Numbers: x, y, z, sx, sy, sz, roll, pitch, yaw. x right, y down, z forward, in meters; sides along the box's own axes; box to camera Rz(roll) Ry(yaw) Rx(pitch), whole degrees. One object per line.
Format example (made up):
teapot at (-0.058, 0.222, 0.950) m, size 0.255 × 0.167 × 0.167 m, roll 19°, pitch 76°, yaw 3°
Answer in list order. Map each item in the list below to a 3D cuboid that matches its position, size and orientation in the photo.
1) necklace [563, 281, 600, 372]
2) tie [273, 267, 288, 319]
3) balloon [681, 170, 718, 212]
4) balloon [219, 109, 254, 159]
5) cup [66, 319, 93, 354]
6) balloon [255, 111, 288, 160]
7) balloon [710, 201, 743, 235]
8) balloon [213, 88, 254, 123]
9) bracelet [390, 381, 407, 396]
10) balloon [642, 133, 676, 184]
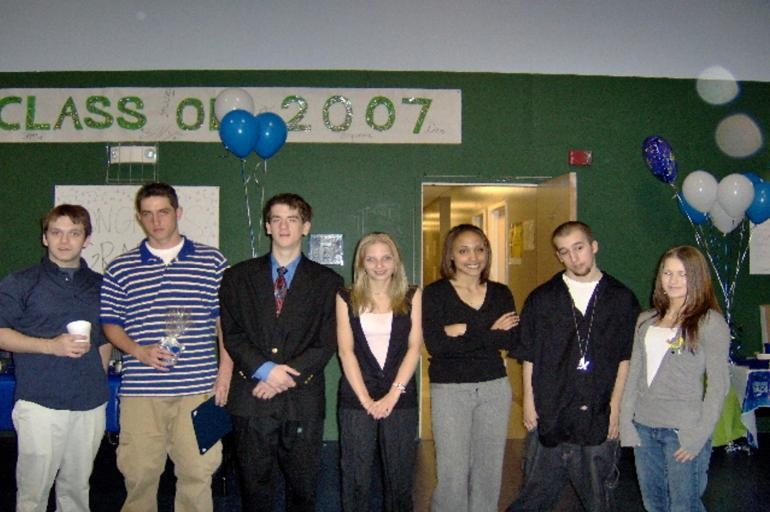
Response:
necklace at (1.507, 0.538, 4.942) m, size 0.233 × 0.524 × 0.132 m, roll 2°, pitch 1°, yaw 17°
tie at (-0.784, 0.248, 4.930) m, size 0.114 × 0.387 × 0.027 m, roll 3°, pitch 39°, yaw -13°
balloon at (3.173, -0.639, 6.435) m, size 0.343 × 0.369 × 0.183 m, roll 1°, pitch 1°, yaw -11°
balloon at (-1.372, -1.149, 6.084) m, size 0.414 × 0.495 × 0.399 m, roll -1°, pitch 23°, yaw -5°
cup at (-2.273, 0.601, 4.816) m, size 0.204 × 0.187 × 0.185 m, roll -3°, pitch 0°, yaw -5°
balloon at (-1.119, -1.183, 6.306) m, size 0.300 × 0.408 × 0.230 m, roll 1°, pitch 1°, yaw -21°
balloon at (3.455, -0.390, 6.624) m, size 0.306 × 0.333 × 0.325 m, roll 6°, pitch 15°, yaw 35°
balloon at (-1.467, -1.501, 6.351) m, size 0.366 × 0.347 × 0.406 m, roll -14°, pitch 14°, yaw -5°
bracelet at (0.116, 0.991, 4.844) m, size 0.091 × 0.090 × 0.060 m, roll 43°, pitch 3°, yaw -3°
balloon at (2.853, -0.993, 6.834) m, size 0.343 × 0.490 × 0.147 m, roll -17°, pitch -8°, yaw -9°
